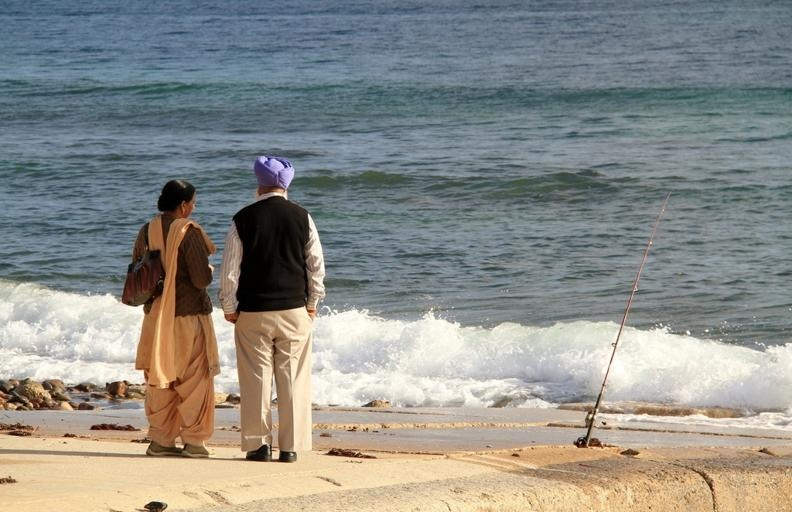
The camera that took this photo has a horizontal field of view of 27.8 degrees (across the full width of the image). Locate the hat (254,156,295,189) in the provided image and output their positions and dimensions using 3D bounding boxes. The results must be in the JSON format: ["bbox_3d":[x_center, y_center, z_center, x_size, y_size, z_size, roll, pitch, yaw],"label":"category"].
[{"bbox_3d":[-4.485,-3.021,57.889,1.606,0.748,1.132,4,12,10],"label":"hat"}]
